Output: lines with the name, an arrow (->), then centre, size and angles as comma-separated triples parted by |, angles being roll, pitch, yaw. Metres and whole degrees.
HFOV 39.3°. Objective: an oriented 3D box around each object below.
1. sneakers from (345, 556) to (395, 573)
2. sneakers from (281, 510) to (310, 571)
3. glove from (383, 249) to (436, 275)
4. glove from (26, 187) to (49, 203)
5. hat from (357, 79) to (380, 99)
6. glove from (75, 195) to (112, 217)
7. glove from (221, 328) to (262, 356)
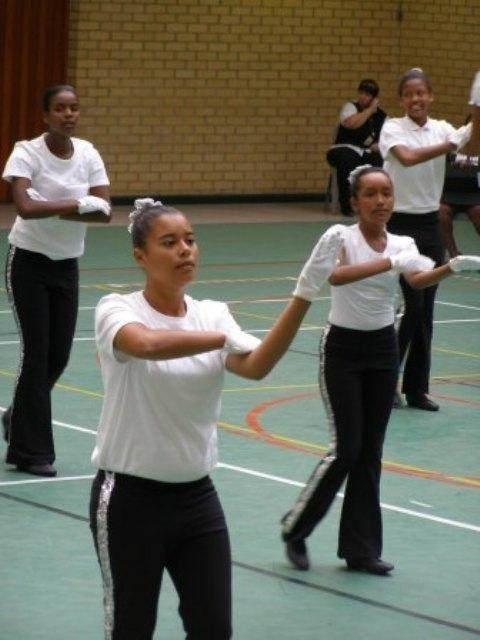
sneakers -> 0.595, 1.139, 3.122 | 0.251, 0.081, 0.074 | -3, 8, 13
sneakers -> 0.271, 1.042, 3.137 | 0.119, 0.188, 0.323 | -5, 12, -8
glove -> 0.866, -0.272, 3.398 | 0.133, 0.091, 0.401 | -5, -5, 19
glove -> -1.237, -0.765, 4.107 | 0.116, 0.115, 0.273 | 1, 4, -16
hat -> 2.976, -5.376, 15.554 | 0.410, 0.505, 0.471 | 3, 5, 2
glove -> -0.885, -0.698, 4.107 | 0.177, 0.061, 0.131 | 0, -2, -21
glove -> 0.007, 0.057, 1.714 | 0.167, 0.050, 0.173 | 3, 3, 1
